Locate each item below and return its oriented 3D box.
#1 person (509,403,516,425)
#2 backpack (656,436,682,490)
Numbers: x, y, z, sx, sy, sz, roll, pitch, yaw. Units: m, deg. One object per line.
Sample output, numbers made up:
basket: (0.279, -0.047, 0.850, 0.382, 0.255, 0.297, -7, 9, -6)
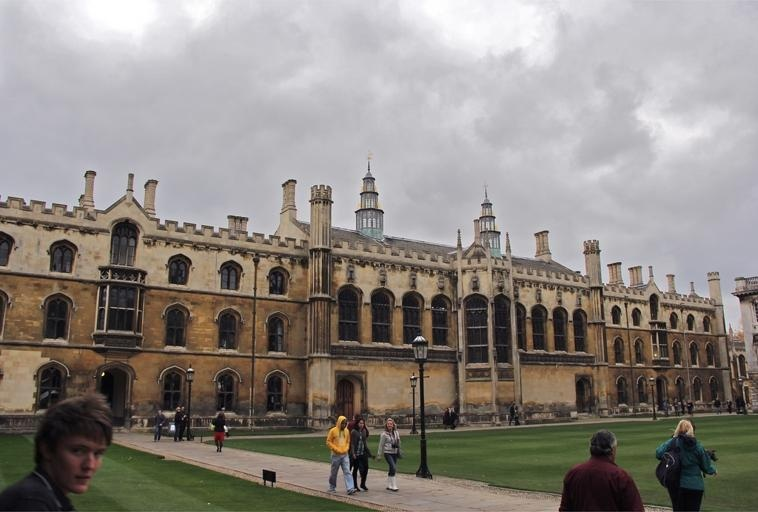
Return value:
person: (9.786, 11.608, 46.697, 0.503, 1.338, 1.497, -2, -17, 11)
backpack: (6.144, 4.356, 13.413, 0.460, 0.885, 0.562, 8, 2, -4)
